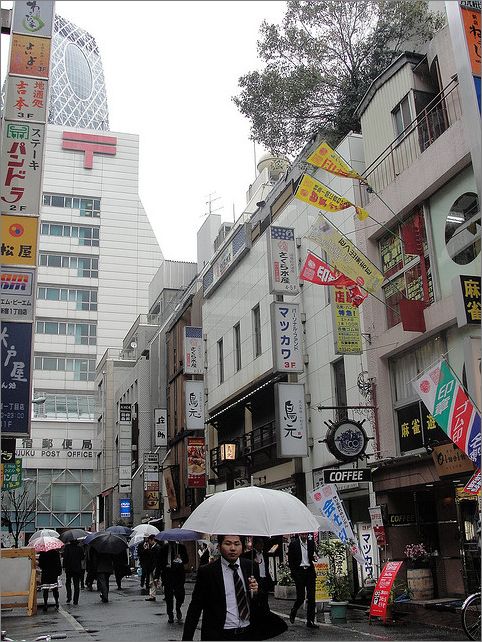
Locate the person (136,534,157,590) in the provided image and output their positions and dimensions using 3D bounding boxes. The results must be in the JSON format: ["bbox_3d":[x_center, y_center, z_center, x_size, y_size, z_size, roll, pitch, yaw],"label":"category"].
[{"bbox_3d":[-3.209,8.510,21.314,0.564,2.188,0.581,1,6,-22],"label":"person"}]

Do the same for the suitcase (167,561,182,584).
[{"bbox_3d":[-1.389,5.405,13.157,0.240,0.284,0.321,-14,-21,41],"label":"suitcase"}]

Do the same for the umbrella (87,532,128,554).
[{"bbox_3d":[-3.665,6.212,17.016,0.887,0.603,0.965,-2,-19,-3],"label":"umbrella"}]

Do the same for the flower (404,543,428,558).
[{"bbox_3d":[3.762,5.003,13.235,0.431,0.351,0.429,19,-24,-37],"label":"flower"}]

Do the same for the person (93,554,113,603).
[{"bbox_3d":[-3.840,7.265,17.232,0.421,1.324,1.155,2,-18,-13],"label":"person"}]

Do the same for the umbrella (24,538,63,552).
[{"bbox_3d":[-5.162,5.948,16.216,0.785,0.407,0.899,0,-28,-19],"label":"umbrella"}]

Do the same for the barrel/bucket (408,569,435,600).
[{"bbox_3d":[3.718,5.528,12.943,0.487,0.626,0.542,2,-13,-9],"label":"barrel/bucket"}]

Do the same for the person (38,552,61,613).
[{"bbox_3d":[-5.227,7.112,16.818,0.573,1.477,1.714,3,-19,-16],"label":"person"}]
